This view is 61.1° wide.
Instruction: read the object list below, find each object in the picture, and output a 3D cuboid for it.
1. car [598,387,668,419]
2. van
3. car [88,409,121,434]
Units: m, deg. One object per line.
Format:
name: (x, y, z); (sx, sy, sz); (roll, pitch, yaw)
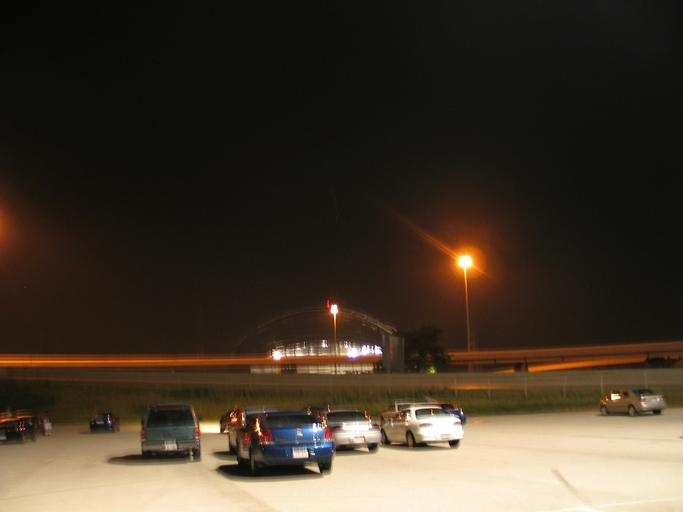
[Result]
car: (17.597, 8.995, 35.293); (3.325, 1.533, 1.507); (-21, -23, 40)
van: (-5.709, 6.008, 19.883); (1.266, 1.202, 2.485); (0, -5, -8)
car: (-15.208, 10.895, 37.456); (1.304, 1.288, 1.607); (-4, -17, -2)
